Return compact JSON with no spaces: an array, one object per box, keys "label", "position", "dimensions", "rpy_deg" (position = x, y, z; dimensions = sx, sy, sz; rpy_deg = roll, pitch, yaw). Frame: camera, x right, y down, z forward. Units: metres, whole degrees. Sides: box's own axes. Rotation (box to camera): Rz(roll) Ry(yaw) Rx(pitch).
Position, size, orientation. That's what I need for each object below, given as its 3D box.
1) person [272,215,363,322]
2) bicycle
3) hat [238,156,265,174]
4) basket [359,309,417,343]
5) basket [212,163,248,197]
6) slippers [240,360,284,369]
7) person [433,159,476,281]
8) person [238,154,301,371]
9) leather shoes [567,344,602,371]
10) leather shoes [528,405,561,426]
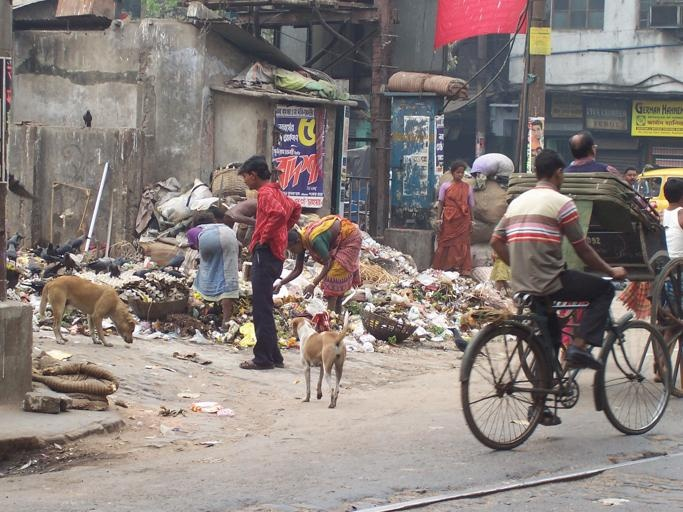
[{"label":"person","position":[-0.201,0.040,16.534],"dimensions":[1.264,1.537,0.849],"rpy_deg":[2,3,1]},{"label":"bicycle","position":[2.288,1.065,12.780],"dimensions":[2.424,1.493,1.112],"rpy_deg":[-11,-19,37]},{"label":"hat","position":[-1.077,-1.116,15.571],"dimensions":[0.264,0.224,0.198],"rpy_deg":[1,-2,21]},{"label":"basket","position":[0.623,1.006,17.808],"dimensions":[0.521,0.215,0.517],"rpy_deg":[20,-1,-15]},{"label":"basket","position":[-1.837,-1.252,20.930],"dimensions":[0.538,0.362,0.453],"rpy_deg":[4,-7,-27]},{"label":"slippers","position":[-0.976,1.362,15.804],"dimensions":[0.499,0.139,0.178],"rpy_deg":[6,-8,-12]},{"label":"person","position":[1.911,-0.665,21.710],"dimensions":[0.619,1.678,0.593],"rpy_deg":[3,1,5]},{"label":"person","position":[-0.924,0.087,15.695],"dimensions":[0.573,2.152,0.595],"rpy_deg":[3,1,13]},{"label":"leather shoes","position":[2.379,1.025,12.856],"dimensions":[0.469,0.207,0.157],"rpy_deg":[17,-9,-19]},{"label":"leather shoes","position":[2.056,1.626,13.032],"dimensions":[0.319,0.200,0.167],"rpy_deg":[-2,3,3]}]
